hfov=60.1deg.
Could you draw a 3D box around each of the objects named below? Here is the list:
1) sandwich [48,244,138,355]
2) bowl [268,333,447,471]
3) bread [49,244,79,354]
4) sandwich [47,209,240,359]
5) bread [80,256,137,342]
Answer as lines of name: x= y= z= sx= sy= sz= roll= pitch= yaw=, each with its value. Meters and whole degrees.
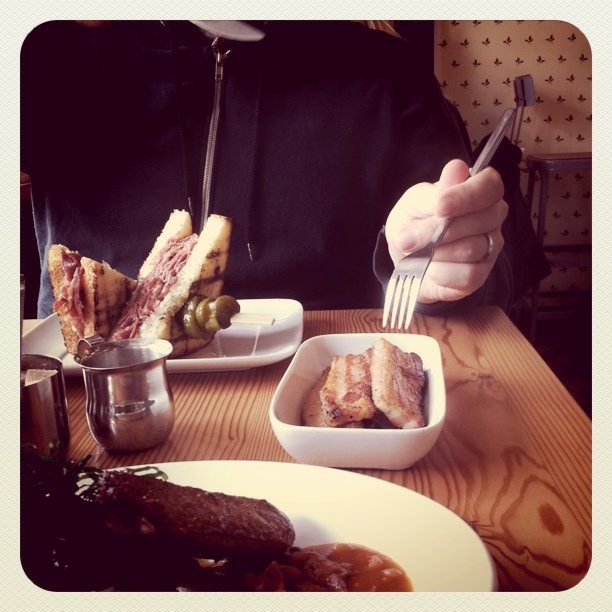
sandwich: x=-0.395 y=-0.003 z=0.987 sx=0.156 sy=0.206 sz=0.072 roll=-21 pitch=29 yaw=-27
bowl: x=0.089 y=0.130 z=0.752 sx=0.205 sy=0.096 sz=0.315 roll=1 pitch=17 yaw=14
bread: x=-0.421 y=0.006 z=0.929 sx=0.037 sy=0.191 sz=0.228 roll=-5 pitch=22 yaw=-26
sandwich: x=-0.262 y=-0.030 z=1.036 sx=0.258 sy=0.192 sz=0.349 roll=17 pitch=40 yaw=19
bread: x=-0.336 y=-0.016 z=0.962 sx=0.128 sy=0.134 sz=0.036 roll=27 pitch=27 yaw=38
